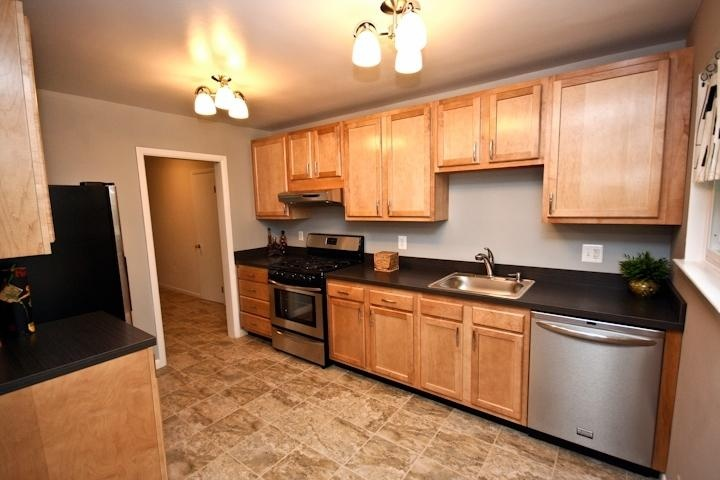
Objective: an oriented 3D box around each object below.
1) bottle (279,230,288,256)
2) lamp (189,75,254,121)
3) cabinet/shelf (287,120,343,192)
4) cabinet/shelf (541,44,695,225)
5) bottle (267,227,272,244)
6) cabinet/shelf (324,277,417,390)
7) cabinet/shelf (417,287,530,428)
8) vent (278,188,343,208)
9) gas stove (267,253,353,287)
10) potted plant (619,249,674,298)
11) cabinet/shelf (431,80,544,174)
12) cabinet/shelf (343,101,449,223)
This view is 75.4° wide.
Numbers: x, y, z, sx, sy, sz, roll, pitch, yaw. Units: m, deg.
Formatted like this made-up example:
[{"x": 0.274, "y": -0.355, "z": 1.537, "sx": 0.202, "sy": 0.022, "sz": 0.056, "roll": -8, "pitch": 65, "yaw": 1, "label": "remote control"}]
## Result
[{"x": -0.939, "y": 0.023, "z": 5.643, "sx": 0.103, "sy": 0.261, "sz": 0.268, "roll": -5, "pitch": 14, "yaw": -7, "label": "bottle"}, {"x": -1.126, "y": -1.193, "z": 3.726, "sx": 0.451, "sy": 0.297, "sz": 0.419, "roll": -6, "pitch": 15, "yaw": -7, "label": "lamp"}, {"x": -0.582, "y": -0.882, "z": 4.919, "sx": 0.271, "sy": 0.588, "sz": 0.746, "roll": 18, "pitch": 27, "yaw": 41, "label": "cabinet/shelf"}, {"x": 1.869, "y": -0.736, "z": 3.434, "sx": 0.927, "sy": 1.208, "sz": 0.255, "roll": 3, "pitch": 16, "yaw": 22, "label": "cabinet/shelf"}, {"x": -1.104, "y": -0.052, "z": 5.648, "sx": 0.073, "sy": 0.201, "sz": 0.151, "roll": -5, "pitch": 14, "yaw": -10, "label": "bottle"}, {"x": 0.216, "y": 0.821, "z": 4.421, "sx": 1.099, "sy": 0.864, "sz": 0.484, "roll": 4, "pitch": 8, "yaw": 44, "label": "cabinet/shelf"}, {"x": 1.059, "y": 0.960, "z": 3.963, "sx": 0.546, "sy": 0.940, "sz": 1.068, "roll": -5, "pitch": 7, "yaw": -41, "label": "cabinet/shelf"}, {"x": -0.531, "y": -0.462, "z": 4.860, "sx": 0.724, "sy": 0.163, "sz": 0.240, "roll": 8, "pitch": 17, "yaw": 41, "label": "vent"}, {"x": -0.522, "y": 0.303, "z": 4.769, "sx": 0.525, "sy": 0.151, "sz": 0.396, "roll": 3, "pitch": 6, "yaw": 39, "label": "gas stove"}, {"x": 2.161, "y": 0.252, "z": 3.554, "sx": 0.343, "sy": 0.316, "sz": 0.261, "roll": 5, "pitch": 16, "yaw": 29, "label": "potted plant"}, {"x": 1.144, "y": -0.910, "z": 3.943, "sx": 1.032, "sy": 0.639, "sz": 0.370, "roll": 3, "pitch": 5, "yaw": 44, "label": "cabinet/shelf"}, {"x": 0.349, "y": -0.709, "z": 4.293, "sx": 1.228, "sy": 1.044, "sz": 0.464, "roll": 3, "pitch": 10, "yaw": 32, "label": "cabinet/shelf"}]
